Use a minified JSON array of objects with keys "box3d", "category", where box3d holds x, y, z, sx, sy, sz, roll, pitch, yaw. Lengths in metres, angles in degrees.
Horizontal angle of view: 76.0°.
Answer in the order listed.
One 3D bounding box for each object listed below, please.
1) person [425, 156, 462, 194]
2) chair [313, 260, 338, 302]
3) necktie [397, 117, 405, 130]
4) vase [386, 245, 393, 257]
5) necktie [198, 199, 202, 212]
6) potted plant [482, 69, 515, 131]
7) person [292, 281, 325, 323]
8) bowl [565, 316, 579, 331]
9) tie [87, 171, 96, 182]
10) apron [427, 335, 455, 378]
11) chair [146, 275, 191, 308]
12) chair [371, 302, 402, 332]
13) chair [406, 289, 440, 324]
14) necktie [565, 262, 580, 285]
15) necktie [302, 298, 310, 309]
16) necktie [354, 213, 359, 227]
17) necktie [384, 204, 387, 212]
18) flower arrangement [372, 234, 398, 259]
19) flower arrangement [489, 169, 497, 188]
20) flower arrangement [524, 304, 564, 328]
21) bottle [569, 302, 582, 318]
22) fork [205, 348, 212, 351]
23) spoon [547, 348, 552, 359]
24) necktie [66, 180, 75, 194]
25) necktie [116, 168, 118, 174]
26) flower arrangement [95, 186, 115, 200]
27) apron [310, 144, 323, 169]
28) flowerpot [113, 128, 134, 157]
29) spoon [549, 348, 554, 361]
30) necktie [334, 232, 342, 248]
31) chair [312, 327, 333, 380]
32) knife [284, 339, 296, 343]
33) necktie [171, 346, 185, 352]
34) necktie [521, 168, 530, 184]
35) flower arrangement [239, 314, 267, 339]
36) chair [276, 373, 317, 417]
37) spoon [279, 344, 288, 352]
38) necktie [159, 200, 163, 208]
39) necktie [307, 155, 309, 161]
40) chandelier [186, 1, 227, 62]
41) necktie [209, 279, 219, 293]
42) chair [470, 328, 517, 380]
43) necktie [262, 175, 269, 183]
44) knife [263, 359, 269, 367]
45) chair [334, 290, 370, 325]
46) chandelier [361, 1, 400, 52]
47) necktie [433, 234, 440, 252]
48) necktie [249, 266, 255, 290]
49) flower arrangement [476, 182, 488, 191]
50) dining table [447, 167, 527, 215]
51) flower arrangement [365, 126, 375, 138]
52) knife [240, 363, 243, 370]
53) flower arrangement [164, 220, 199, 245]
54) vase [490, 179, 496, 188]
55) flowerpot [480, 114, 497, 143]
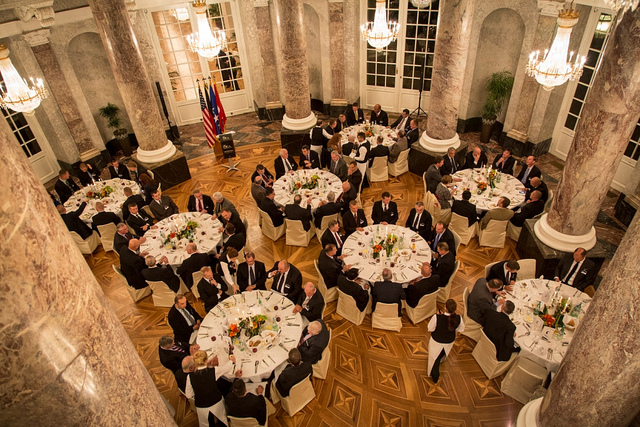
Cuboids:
[{"box3d":[3.010,-0.800,10.063,0.599,0.401,1.111,-4,70,28],"category":"person"},{"box3d":[0.141,1.358,8.171,0.398,0.722,0.444,-15,46,-8],"category":"chair"},{"box3d":[2.478,-2.772,12.545,0.171,0.340,0.148,-3,32,0],"category":"necktie"},{"box3d":[1.364,0.740,8.034,0.126,0.177,0.157,2,34,7],"category":"vase"},{"box3d":[-2.848,-0.192,9.781,0.088,0.286,0.166,-13,34,-16],"category":"necktie"},{"box3d":[5.530,-3.560,12.717,0.827,1.952,0.874,4,43,5],"category":"potted plant"},{"box3d":[-0.224,1.638,7.511,0.374,0.756,0.323,-31,69,-24],"category":"person"},{"box3d":[4.057,1.763,6.640,0.179,0.118,0.272,24,43,34],"category":"bowl"},{"box3d":[-5.964,-0.963,10.743,0.080,0.064,0.564,-32,59,-1],"category":"tie"},{"box3d":[2.048,2.445,7.089,0.365,0.834,0.250,-8,33,-8],"category":"apron"},{"box3d":[-3.031,1.558,8.310,0.441,0.618,0.444,11,52,8],"category":"chair"},{"box3d":[1.272,1.931,7.790,0.476,0.818,0.611,3,56,8],"category":"chair"},{"box3d":[1.933,1.768,7.786,0.354,0.567,0.423,-22,50,-11],"category":"chair"},{"box3d":[4.664,1.094,7.600,0.200,0.402,0.061,-16,34,-19],"category":"necktie"},{"box3d":[-0.257,1.627,7.443,0.145,0.036,0.103,-60,21,-10],"category":"necktie"},{"box3d":[0.798,0.139,9.033,0.064,0.268,0.128,-9,33,-9],"category":"necktie"},{"box3d":[1.486,-0.139,9.288,0.037,0.171,0.023,1,-3,34],"category":"necktie"},{"box3d":[1.264,0.670,8.045,0.396,0.454,0.388,2,11,15],"category":"flower arrangement"},{"box3d":[4.085,-0.817,9.755,0.144,0.283,0.346,8,35,16],"category":"flower arrangement"},{"box3d":[3.738,1.646,6.746,0.460,0.259,0.402,2,34,7],"category":"flower arrangement"},{"box3d":[4.191,1.592,6.744,0.086,0.231,0.085,-2,52,3],"category":"bottle"},{"box3d":[-1.799,2.217,6.701,0.092,0.008,0.045,-8,35,-7],"category":"fork"},{"box3d":[3.545,2.147,6.341,0.044,0.022,0.215,4,42,18],"category":"spoon"},{"box3d":[-6.443,-0.667,10.630,0.170,0.188,0.046,19,63,34],"category":"necktie"},{"box3d":[-5.514,-1.163,11.178,0.036,0.149,0.149,-5,73,-3],"category":"necktie"},{"box3d":[-5.347,-0.522,10.251,0.301,0.171,0.317,-6,27,13],"category":"flower arrangement"},{"box3d":[-0.073,-1.878,12.583,0.285,0.504,0.329,4,70,1],"category":"apron"},{"box3d":[-6.503,-2.394,13.668,0.400,1.007,0.622,-19,36,-23],"category":"flowerpot"},{"box3d":[3.557,2.166,6.314,0.043,0.017,0.198,2,39,16],"category":"spoon"},{"box3d":[0.392,0.559,8.643,0.081,0.405,0.102,-11,2,-2],"category":"necktie"},{"box3d":[0.033,2.412,7.008,0.440,0.795,0.589,11,48,13],"category":"chair"},{"box3d":[-0.491,2.104,6.769,0.157,0.006,0.032,-8,35,-7],"category":"knife"},{"box3d":[-2.354,2.246,6.805,0.200,0.072,0.055,12,23,-8],"category":"necktie"},{"box3d":[4.986,-0.910,9.980,0.065,0.286,0.198,9,4,5],"category":"necktie"},{"box3d":[-1.100,1.855,6.822,0.434,0.247,0.265,-13,35,-14],"category":"flower arrangement"},{"box3d":[-0.397,2.948,6.663,0.442,0.605,0.410,-33,60,-18],"category":"chair"},{"box3d":[-0.592,2.187,6.681,0.179,0.016,0.032,22,41,31],"category":"spoon"},{"box3d":[-3.758,-0.225,9.721,0.053,0.032,0.203,-35,59,18],"category":"necktie"},{"box3d":[-0.316,-1.507,11.239,0.039,0.117,0.103,-5,33,-3],"category":"necktie"},{"box3d":[-3.055,-4.918,10.856,0.895,1.536,2.741,-11,35,-12],"category":"chandelier"},{"box3d":[-2.027,1.403,7.945,0.095,0.391,0.156,-6,33,-5],"category":"necktie"},{"box3d":[3.013,2.206,7.258,0.707,0.740,0.968,-15,37,31],"category":"chair"},{"box3d":[-1.402,-0.908,10.623,0.197,0.237,0.079,-29,41,-35],"category":"necktie"},{"box3d":[-0.843,2.362,6.485,0.026,0.008,0.168,-26,41,-30],"category":"knife"},{"box3d":[0.662,1.841,8.000,0.380,0.531,0.428,27,54,24],"category":"chair"},{"box3d":[1.486,-4.633,10.211,0.775,1.294,1.061,2,33,7],"category":"chandelier"},{"box3d":[2.391,0.578,8.427,0.086,0.398,0.093,-17,35,-22],"category":"necktie"},{"box3d":[-1.325,1.216,8.055,0.089,0.376,0.108,-5,32,-3],"category":"necktie"},{"box3d":[3.798,-0.639,9.633,0.187,0.148,0.191,1,34,5],"category":"flower arrangement"},{"box3d":[3.977,-0.592,9.704,1.282,0.371,1.354,-12,43,-10],"category":"dining table"},{"box3d":[1.481,-2.408,12.201,0.282,0.134,0.550,0,35,4],"category":"flower arrangement"},{"box3d":[-1.229,2.409,6.460,0.052,0.013,0.053,11,76,37],"category":"knife"},{"box3d":[-2.954,0.371,8.819,0.514,0.413,0.218,-19,38,-9],"category":"flower arrangement"},{"box3d":[4.081,-0.704,9.687,0.119,0.064,0.180,-3,69,0],"category":"vase"},{"box3d":[5.364,-2.744,13.162,0.374,1.012,0.361,11,35,21],"category":"flowerpot"}]
